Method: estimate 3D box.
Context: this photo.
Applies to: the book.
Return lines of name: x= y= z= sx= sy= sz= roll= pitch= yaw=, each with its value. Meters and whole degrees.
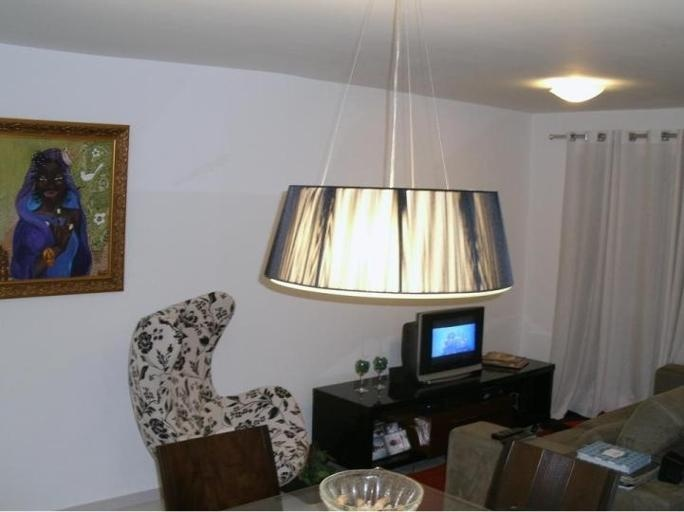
book: x=1.552 y=1.132 z=3.137 sx=0.417 sy=0.096 sz=0.399 roll=-5 pitch=11 yaw=-38

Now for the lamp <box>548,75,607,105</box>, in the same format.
lamp: x=1.808 y=-1.281 z=4.379 sx=0.426 sy=0.134 sz=0.353 roll=3 pitch=5 yaw=22

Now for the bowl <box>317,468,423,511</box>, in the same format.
bowl: x=0.122 y=1.010 z=2.375 sx=0.432 sy=0.118 sz=0.267 roll=1 pitch=4 yaw=0

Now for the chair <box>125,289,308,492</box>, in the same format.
chair: x=-0.980 y=0.884 z=4.316 sx=1.451 sy=1.476 sz=1.112 roll=1 pitch=4 yaw=-5

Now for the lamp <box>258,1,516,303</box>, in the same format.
lamp: x=0.168 y=-0.554 z=2.709 sx=0.796 sy=1.387 sz=2.253 roll=1 pitch=4 yaw=1

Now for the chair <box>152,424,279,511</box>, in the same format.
chair: x=-0.572 y=1.033 z=2.777 sx=0.664 sy=0.437 sz=0.354 roll=-2 pitch=-11 yaw=-34

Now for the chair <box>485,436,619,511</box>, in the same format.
chair: x=0.951 y=1.073 z=2.597 sx=0.194 sy=0.309 sz=0.519 roll=-3 pitch=6 yaw=-40
